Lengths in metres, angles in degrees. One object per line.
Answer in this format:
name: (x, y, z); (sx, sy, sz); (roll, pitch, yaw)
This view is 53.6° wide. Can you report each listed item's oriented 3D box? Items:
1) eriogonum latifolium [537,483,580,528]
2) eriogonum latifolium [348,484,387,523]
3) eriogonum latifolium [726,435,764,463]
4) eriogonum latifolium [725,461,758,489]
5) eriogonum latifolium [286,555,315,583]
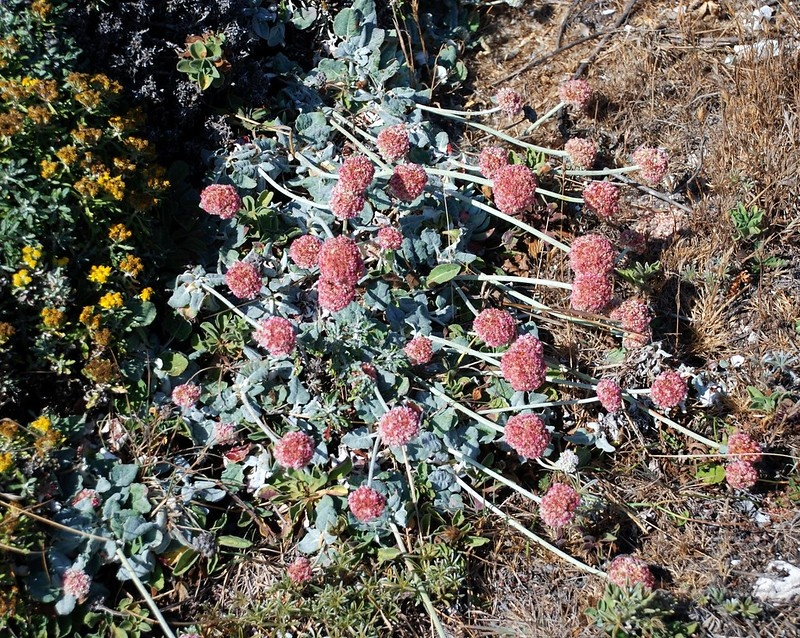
eriogonum latifolium: (0.716, 0.839, 3.650); (0.165, 0.192, 0.133); (-36, 83, -6)
eriogonum latifolium: (-0.151, 0.826, 3.558); (0.140, 0.094, 0.164); (-1, 29, -7)
eriogonum latifolium: (1.615, 0.601, 3.739); (0.145, 0.110, 0.125); (27, 99, 10)
eriogonum latifolium: (1.599, 0.733, 3.751); (0.116, 0.146, 0.130); (30, 84, 20)
eriogonum latifolium: (-0.460, 1.129, 3.559); (0.108, 0.065, 0.117); (-16, 82, -1)
